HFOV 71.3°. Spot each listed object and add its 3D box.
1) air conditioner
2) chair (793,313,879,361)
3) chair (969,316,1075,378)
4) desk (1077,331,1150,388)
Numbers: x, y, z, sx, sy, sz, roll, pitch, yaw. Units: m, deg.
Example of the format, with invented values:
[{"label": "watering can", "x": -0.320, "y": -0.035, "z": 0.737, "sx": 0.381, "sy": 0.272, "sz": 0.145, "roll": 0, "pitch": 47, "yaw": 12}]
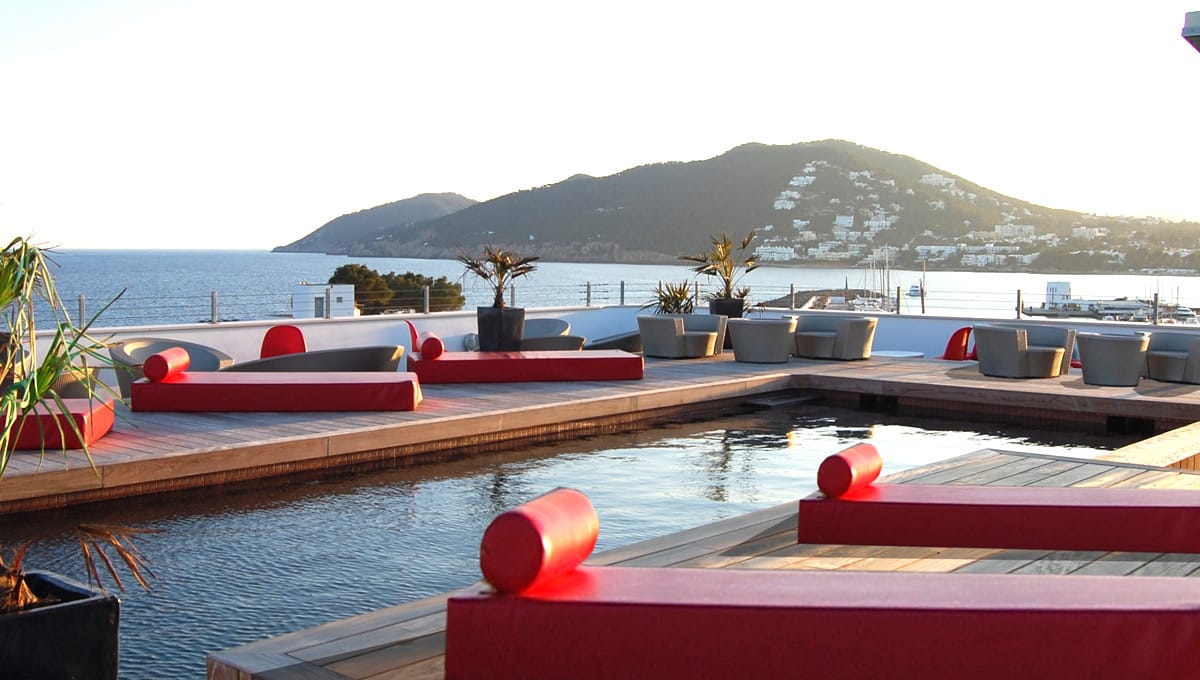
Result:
[{"label": "air conditioner", "x": -1.532, "y": -0.684, "z": 13.565, "sx": 1.690, "sy": 1.665, "sz": 1.636, "roll": -2, "pitch": 5, "yaw": -28}, {"label": "chair", "x": 3.731, "y": -0.067, "z": 13.475, "sx": 0.830, "sy": 0.737, "sz": 1.047, "roll": -1, "pitch": 4, "yaw": -33}, {"label": "chair", "x": 5.954, "y": 0.154, "z": 11.687, "sx": 1.242, "sy": 0.704, "sz": 0.704, "roll": 0, "pitch": 4, "yaw": -20}, {"label": "desk", "x": 6.697, "y": 0.257, "z": 10.968, "sx": 0.813, "sy": 0.658, "sz": 0.454, "roll": 3, "pitch": 4, "yaw": 19}]
